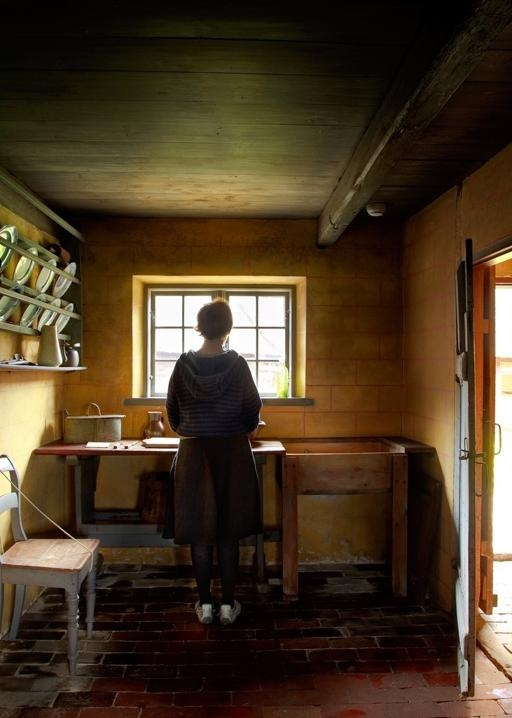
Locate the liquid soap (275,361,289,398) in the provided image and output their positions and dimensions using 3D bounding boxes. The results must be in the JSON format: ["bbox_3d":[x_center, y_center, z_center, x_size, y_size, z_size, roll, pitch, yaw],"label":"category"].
[{"bbox_3d":[0.177,0.137,4.019,0.096,0.232,0.121,0,1,8],"label":"liquid soap"}]

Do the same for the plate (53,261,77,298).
[{"bbox_3d":[-1.170,-0.467,3.499,0.032,0.197,0.191,25,24,-3],"label":"plate"}]

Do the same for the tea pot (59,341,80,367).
[{"bbox_3d":[-1.116,-0.026,3.560,0.172,0.179,0.109,-1,3,-35],"label":"tea pot"}]

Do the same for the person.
[{"bbox_3d":[-0.200,0.509,2.753,0.443,1.581,0.300,0,1,-9],"label":"person"}]

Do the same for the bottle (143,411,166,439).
[{"bbox_3d":[-0.643,0.410,3.652,0.125,0.172,0.165,0,-16,-4],"label":"bottle"}]

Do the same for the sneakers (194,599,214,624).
[{"bbox_3d":[-0.250,1.227,2.811,0.055,0.058,0.135,6,-39,-2],"label":"sneakers"}]

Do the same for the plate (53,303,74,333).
[{"bbox_3d":[-1.189,-0.251,3.559,0.076,0.035,0.246,19,-30,-12],"label":"plate"}]

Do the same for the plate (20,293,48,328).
[{"bbox_3d":[-1.209,-0.267,3.133,0.032,0.233,0.069,-11,-49,29],"label":"plate"}]
